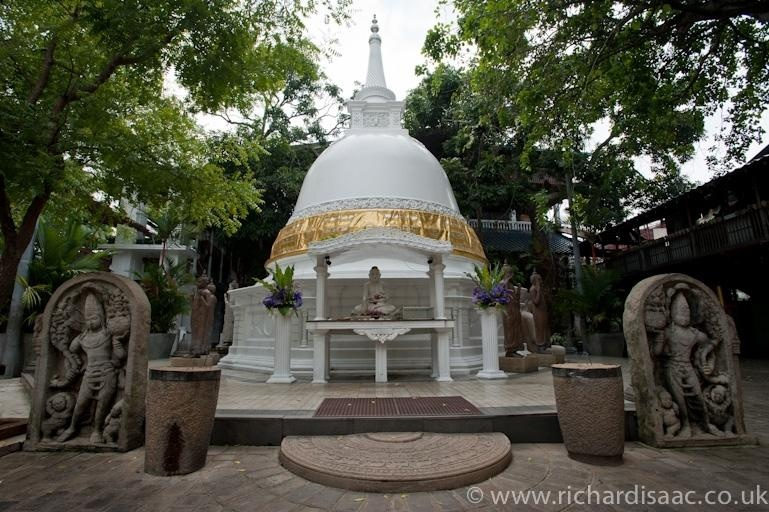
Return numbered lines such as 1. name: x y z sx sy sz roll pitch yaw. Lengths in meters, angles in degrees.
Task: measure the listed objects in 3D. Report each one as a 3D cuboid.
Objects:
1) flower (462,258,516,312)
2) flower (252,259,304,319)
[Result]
1. flower: 2.469 0.671 11.250 1.054 1.091 1.059 -2 -8 16
2. flower: -2.320 0.773 10.699 0.861 1.063 1.098 4 -7 9
